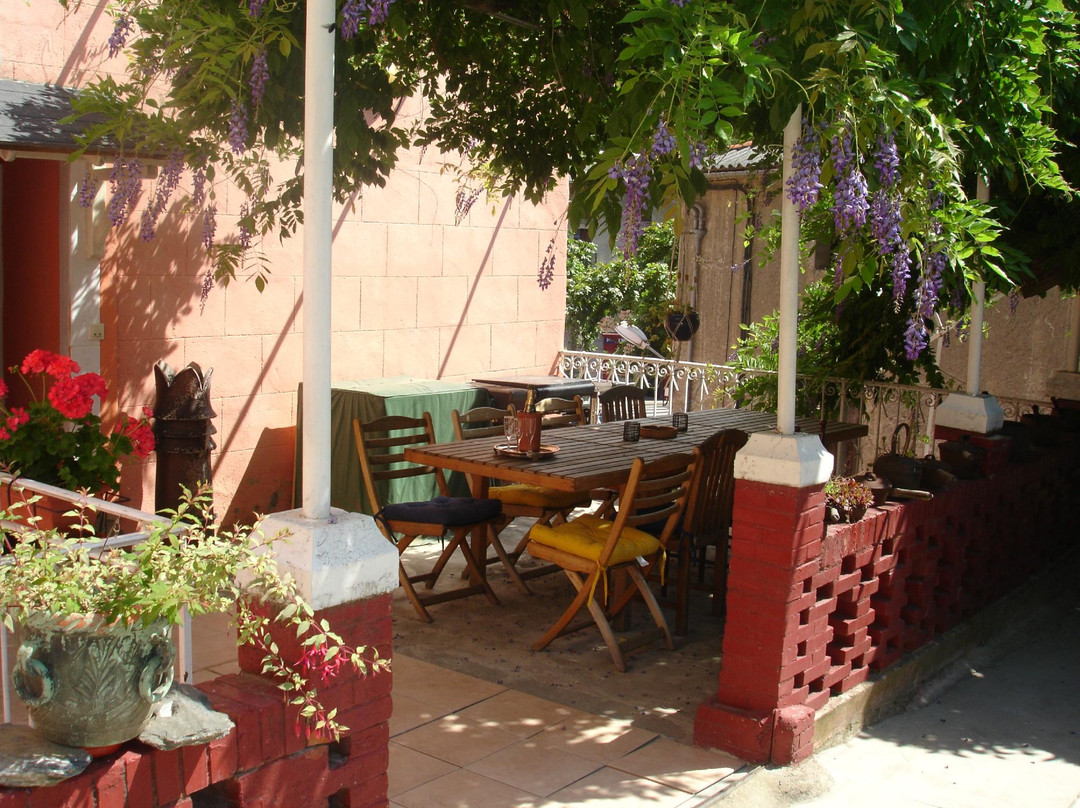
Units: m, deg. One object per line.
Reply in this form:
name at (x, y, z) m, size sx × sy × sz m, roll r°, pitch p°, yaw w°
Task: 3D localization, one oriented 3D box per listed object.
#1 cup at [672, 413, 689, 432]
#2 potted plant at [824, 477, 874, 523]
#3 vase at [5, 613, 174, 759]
cup at (1.055, 0.130, 6.824) m, size 0.120 × 0.148 × 0.124 m, roll -1°, pitch 12°, yaw 0°
potted plant at (1.625, 0.490, 4.831) m, size 0.229 × 0.177 × 0.243 m, roll -1°, pitch 6°, yaw -6°
vase at (-1.167, 0.671, 2.391) m, size 0.339 × 0.289 × 0.353 m, roll 2°, pitch -4°, yaw -11°
